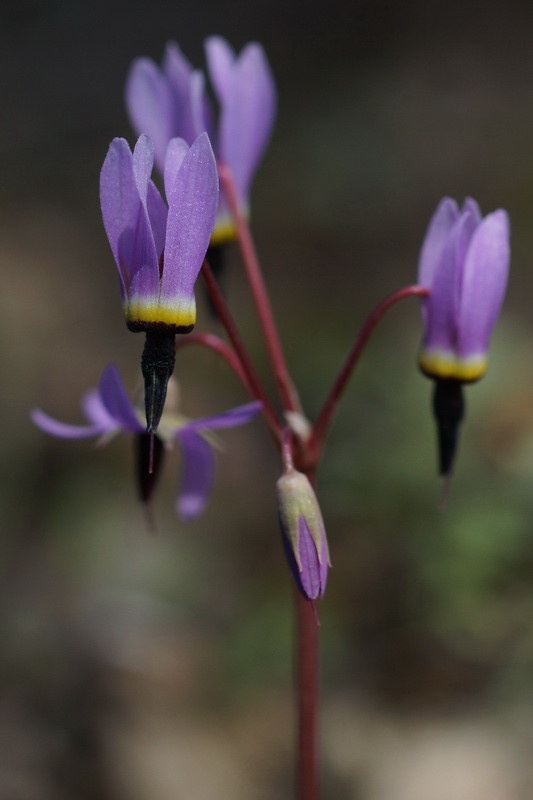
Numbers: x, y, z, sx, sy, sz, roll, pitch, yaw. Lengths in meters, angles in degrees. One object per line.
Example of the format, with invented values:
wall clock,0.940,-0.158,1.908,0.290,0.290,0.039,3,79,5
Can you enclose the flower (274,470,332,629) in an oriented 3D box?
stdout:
flower,0.026,0.100,0.601,0.031,0.086,0.034,-14,-8,16

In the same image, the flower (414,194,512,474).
flower,0.136,-0.048,0.687,0.063,0.189,0.097,12,28,15

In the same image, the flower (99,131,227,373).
flower,-0.072,-0.109,0.602,0.077,0.120,0.056,7,27,5

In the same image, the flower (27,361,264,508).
flower,-0.100,0.028,0.750,0.141,0.102,0.156,19,17,41
